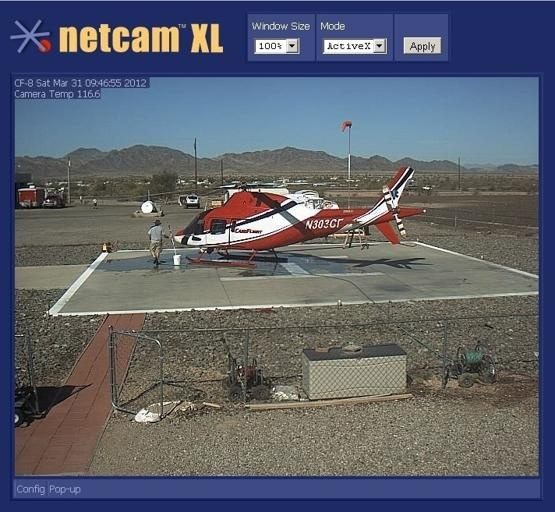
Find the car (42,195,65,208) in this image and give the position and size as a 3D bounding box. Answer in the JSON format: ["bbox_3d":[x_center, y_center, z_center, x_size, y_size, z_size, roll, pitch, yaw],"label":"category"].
[{"bbox_3d":[-36.133,-8.870,71.783,1.924,2.497,5.447,-3,13,-12],"label":"car"}]

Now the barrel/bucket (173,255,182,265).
[{"bbox_3d":[-4.838,0.202,21.900,0.571,0.486,0.533,0,2,0],"label":"barrel/bucket"}]

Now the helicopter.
[{"bbox_3d":[0.773,-1.601,21.402,10.022,2.902,6.095,0,7,3],"label":"helicopter"}]
